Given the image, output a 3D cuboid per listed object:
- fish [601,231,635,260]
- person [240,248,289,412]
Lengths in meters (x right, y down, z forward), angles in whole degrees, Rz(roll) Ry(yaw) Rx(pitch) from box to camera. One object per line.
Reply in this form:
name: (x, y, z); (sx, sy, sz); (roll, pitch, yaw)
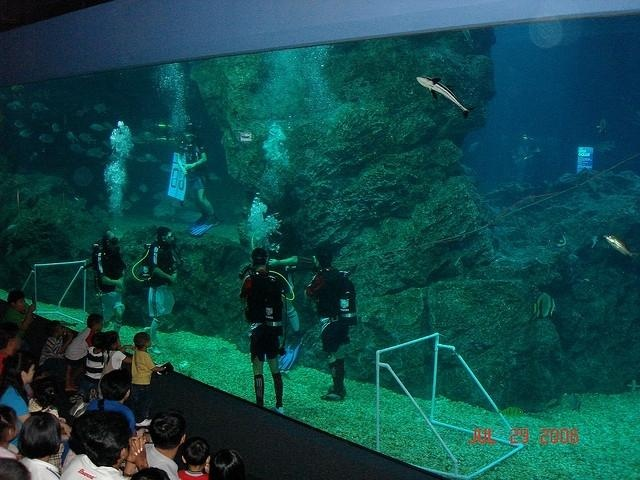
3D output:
fish: (5.361, 0.121, 9.343); (0.873, 0.139, 0.309); (22, 13, -22)
person: (-0.905, 1.430, 8.105); (0.663, 2.519, 0.956); (-1, 17, -19)
